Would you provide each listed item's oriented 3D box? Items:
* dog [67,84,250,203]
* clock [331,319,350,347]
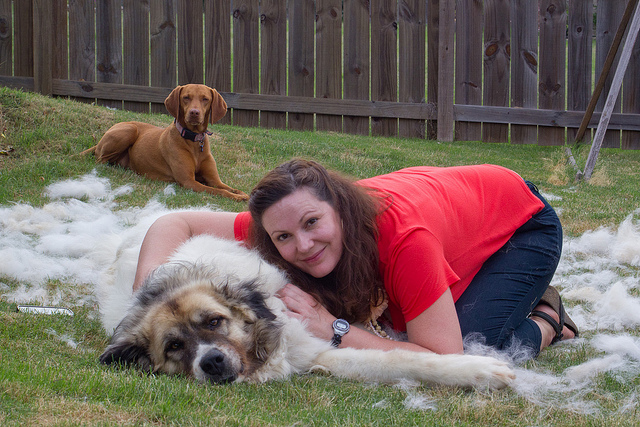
[{"bbox_3d":[-2.773,-1.310,12.105,3.420,1.725,1.048,12,14,26],"label":"dog"},{"bbox_3d":[0.200,1.245,7.879,0.150,0.253,0.269,12,48,2],"label":"clock"}]
